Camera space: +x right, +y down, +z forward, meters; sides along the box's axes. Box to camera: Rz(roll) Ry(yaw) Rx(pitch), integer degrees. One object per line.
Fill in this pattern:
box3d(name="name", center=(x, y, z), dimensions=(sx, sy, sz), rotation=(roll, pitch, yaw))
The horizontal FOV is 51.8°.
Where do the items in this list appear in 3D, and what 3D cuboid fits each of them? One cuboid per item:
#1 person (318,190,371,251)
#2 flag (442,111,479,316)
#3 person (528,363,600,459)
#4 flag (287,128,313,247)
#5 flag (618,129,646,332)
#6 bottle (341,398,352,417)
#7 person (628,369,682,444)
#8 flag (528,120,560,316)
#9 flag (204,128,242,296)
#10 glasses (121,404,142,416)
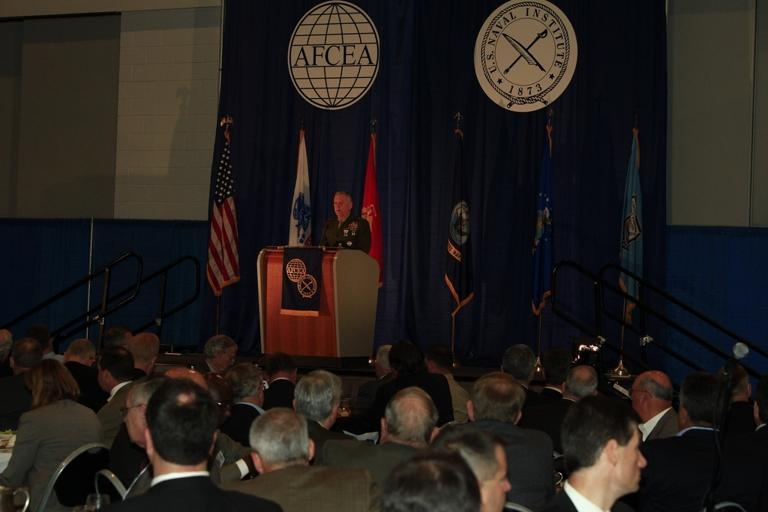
box3d(name="person", center=(-0.523, -0.461, 10.708), dimensions=(0.545, 0.763, 0.756), rotation=(1, 1, -32))
box3d(name="flag", center=(1.172, -0.638, 11.787), dimensions=(0.367, 3.002, 0.206), rotation=(2, 1, 4))
box3d(name="person", center=(1.447, 1.242, 6.325), dimensions=(0.388, 1.187, 0.348), rotation=(11, 11, 21))
box3d(name="flag", center=(-1.272, -1.072, 12.145), dimensions=(0.347, 1.791, 0.378), rotation=(1, 1, -32))
box3d(name="flag", center=(3.584, -0.453, 11.300), dimensions=(0.339, 2.242, 0.454), rotation=(2, 1, 17))
box3d(name="bottle", center=(-0.352, 1.543, 8.014), dimensions=(0.105, 0.206, 0.113), rotation=(0, -5, 0))
box3d(name="person", center=(2.494, 1.405, 7.040), dimensions=(0.524, 0.642, 0.753), rotation=(4, -19, 23))
box3d(name="flag", center=(2.352, -0.618, 11.642), dimensions=(0.366, 3.098, 0.242), rotation=(1, 3, 0))
box3d(name="flag", center=(-2.473, -0.712, 12.255), dimensions=(0.497, 2.619, 0.268), rotation=(1, 1, -16))
box3d(name="glasses", center=(-1.893, 1.142, 5.944), dimensions=(0.111, 0.038, 0.110), rotation=(-7, -16, -35))
